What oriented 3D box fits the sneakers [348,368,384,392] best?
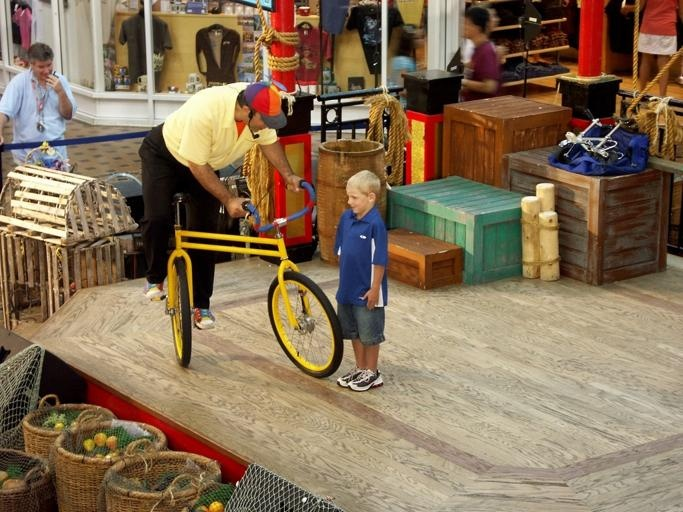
[{"bbox_3d":[0.151,0.729,3.903,0.219,0.098,0.095,-13,37,-24],"label":"sneakers"}]

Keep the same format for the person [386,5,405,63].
[{"bbox_3d":[0.982,-4.051,11.572,0.284,0.951,0.106,-1,14,-4],"label":"person"}]

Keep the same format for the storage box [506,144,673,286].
[{"bbox_3d":[2.102,-0.377,5.662,1.022,1.027,1.386,-10,21,-21],"label":"storage box"}]

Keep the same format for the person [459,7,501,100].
[{"bbox_3d":[1.346,-1.931,6.133,0.363,0.858,0.420,2,14,11],"label":"person"}]

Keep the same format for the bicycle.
[{"bbox_3d":[-0.383,0.212,4.089,1.798,1.076,0.728,18,26,42],"label":"bicycle"}]

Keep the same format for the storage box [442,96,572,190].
[{"bbox_3d":[1.527,-1.181,6.117,0.958,0.891,0.949,-16,29,-33],"label":"storage box"}]

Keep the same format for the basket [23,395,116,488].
[{"bbox_3d":[-1.677,1.060,3.909,0.360,0.213,0.457,19,19,28],"label":"basket"}]

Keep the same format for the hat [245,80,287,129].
[{"bbox_3d":[-0.445,-0.859,3.666,0.208,0.248,0.235,-4,14,-14],"label":"hat"}]

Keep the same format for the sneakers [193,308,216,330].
[{"bbox_3d":[-0.902,0.417,4.255,0.095,0.070,0.167,-5,14,-25],"label":"sneakers"}]

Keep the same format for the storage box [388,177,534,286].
[{"bbox_3d":[1.025,-0.304,5.510,0.856,0.643,1.249,-14,27,-30],"label":"storage box"}]

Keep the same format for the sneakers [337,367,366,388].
[{"bbox_3d":[0.052,0.739,3.888,0.205,0.083,0.073,0,7,-8],"label":"sneakers"}]

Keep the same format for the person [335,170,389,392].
[{"bbox_3d":[0.117,0.158,3.775,0.414,1.309,0.236,10,18,36],"label":"person"}]

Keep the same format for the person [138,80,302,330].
[{"bbox_3d":[-0.837,-0.344,4.211,1.187,1.657,0.730,16,27,21],"label":"person"}]
